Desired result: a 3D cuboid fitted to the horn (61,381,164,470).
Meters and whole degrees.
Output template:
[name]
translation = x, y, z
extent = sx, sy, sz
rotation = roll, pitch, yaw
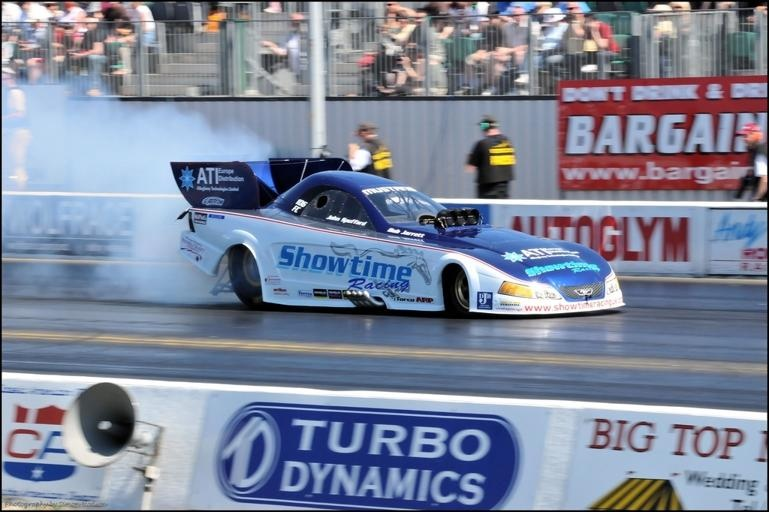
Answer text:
[horn]
translation = -2.524, 1.547, 11.739
extent = 0.621, 0.755, 0.632
rotation = 4, 9, 34
